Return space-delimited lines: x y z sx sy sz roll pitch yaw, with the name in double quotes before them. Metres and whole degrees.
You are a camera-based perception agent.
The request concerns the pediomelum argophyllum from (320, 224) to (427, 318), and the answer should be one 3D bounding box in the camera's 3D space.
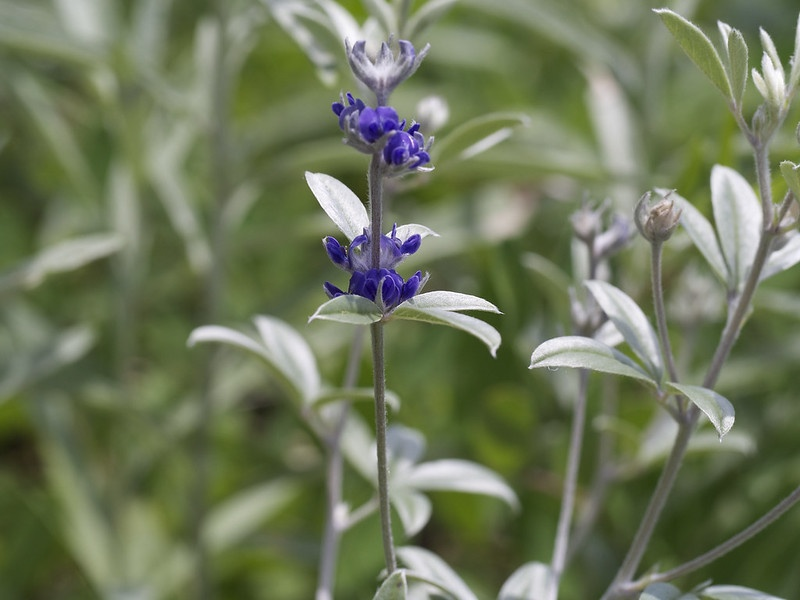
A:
"pediomelum argophyllum" -0.026 -0.044 0.997 0.091 0.060 0.088 -25 22 -39
